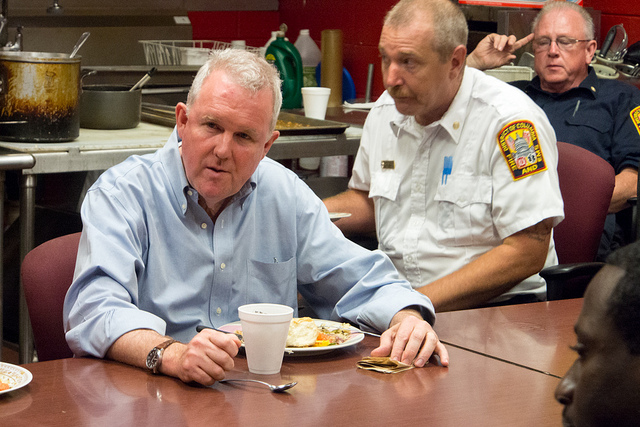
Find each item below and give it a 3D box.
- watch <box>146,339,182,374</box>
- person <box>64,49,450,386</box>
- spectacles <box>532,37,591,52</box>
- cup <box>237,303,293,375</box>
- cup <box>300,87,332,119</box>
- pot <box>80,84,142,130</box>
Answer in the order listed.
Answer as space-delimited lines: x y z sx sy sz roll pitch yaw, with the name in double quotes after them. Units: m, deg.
-0.331 0.307 1.129 0.039 0.066 0.071 8 -4 28 "watch"
-0.184 0.082 1.626 0.865 0.994 0.929 2 2 -31 "person"
1.369 -0.947 3.018 0.296 0.079 0.102 6 15 15 "spectacles"
-0.111 0.264 1.156 0.133 0.141 0.134 0 1 0 "cup"
-0.031 -0.674 3.397 0.207 0.214 0.213 1 4 0 "cup"
-1.056 -0.524 2.663 0.260 0.157 0.258 0 2 0 "pot"
